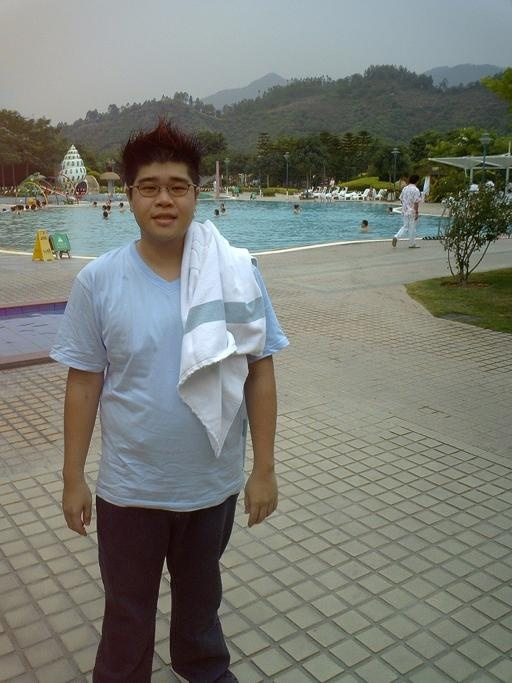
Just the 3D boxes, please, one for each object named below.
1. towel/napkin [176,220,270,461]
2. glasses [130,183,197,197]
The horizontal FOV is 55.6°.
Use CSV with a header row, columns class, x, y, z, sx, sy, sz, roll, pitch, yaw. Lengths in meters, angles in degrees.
class,x,y,z,sx,sy,sz,roll,pitch,yaw
towel/napkin,-0.079,-0.009,1.182,0.202,0.550,0.356,1,14,1
glasses,-0.219,-0.351,1.138,0.148,0.036,0.068,-2,13,-9
